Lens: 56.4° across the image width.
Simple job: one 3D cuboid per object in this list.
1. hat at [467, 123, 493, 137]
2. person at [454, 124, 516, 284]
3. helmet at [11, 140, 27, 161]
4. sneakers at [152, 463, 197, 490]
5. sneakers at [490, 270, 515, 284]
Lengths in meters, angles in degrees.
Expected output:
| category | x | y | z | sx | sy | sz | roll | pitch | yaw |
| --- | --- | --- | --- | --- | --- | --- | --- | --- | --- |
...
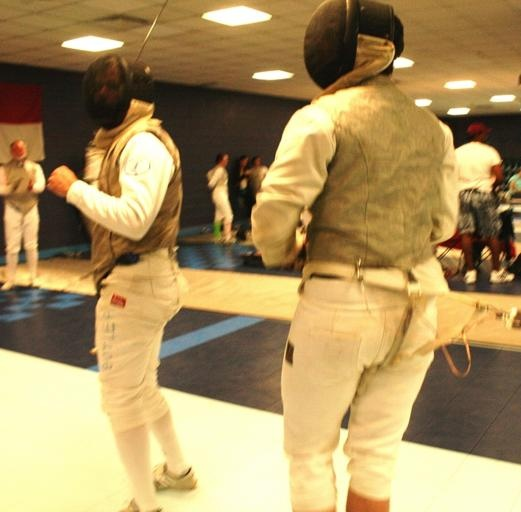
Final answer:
| category | x | y | z | sx | sy | sz | roll | pitch | yaw |
| --- | --- | --- | --- | --- | --- | --- | --- | --- | --- |
| hat | 2.791 | -1.619 | 6.260 | 0.236 | 0.179 | 0.670 | 3 | 14 | 22 |
| person | 2.778 | -0.515 | 6.039 | 0.655 | 1.744 | 0.485 | 1 | 13 | 15 |
| helmet | -3.004 | -1.299 | 6.039 | 0.167 | 0.242 | 0.244 | -9 | 14 | -28 |
| sneakers | -0.353 | 0.899 | 2.006 | 0.184 | 0.081 | 0.087 | 3 | 4 | 11 |
| sneakers | 3.099 | 0.232 | 6.277 | 0.421 | 0.179 | 0.140 | -10 | 16 | -27 |
